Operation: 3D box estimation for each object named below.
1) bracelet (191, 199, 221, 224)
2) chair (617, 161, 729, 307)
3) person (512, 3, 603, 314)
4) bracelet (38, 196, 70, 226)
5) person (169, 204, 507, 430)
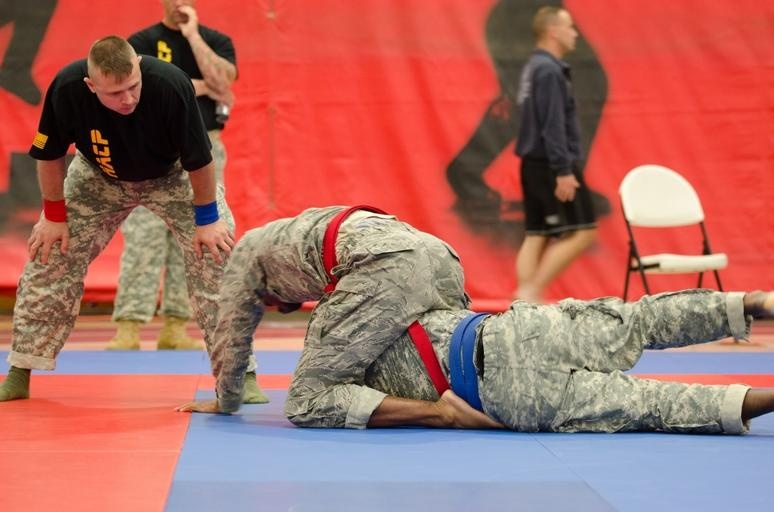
[{"bbox_3d":[-0.889,-0.212,4.598,0.118,0.087,0.115,-8,2,-18],"label":"bracelet"},{"bbox_3d":[2.238,-0.166,7.375,0.757,1.059,1.056,1,7,14],"label":"chair"},{"bbox_3d":[1.271,-0.598,7.104,0.630,1.919,0.428,2,8,19],"label":"person"},{"bbox_3d":[-1.668,-0.214,4.685,0.118,0.113,0.116,-3,0,-25],"label":"bracelet"},{"bbox_3d":[-0.090,0.265,4.709,1.749,1.016,1.310,-1,7,29],"label":"person"}]
